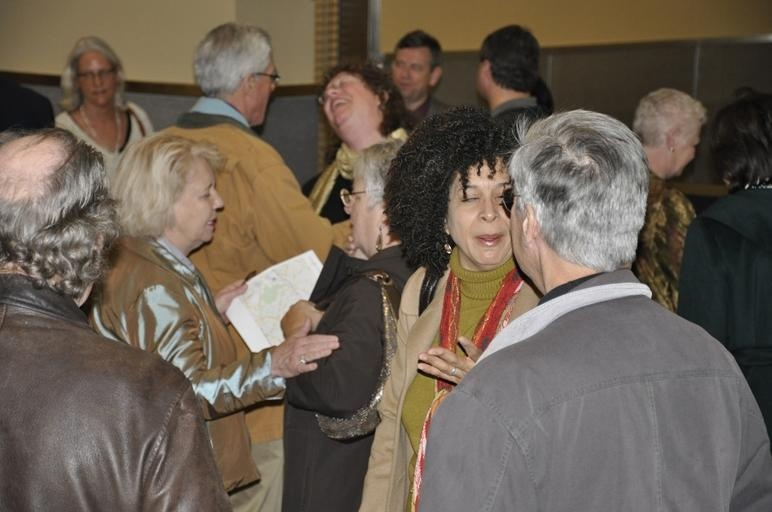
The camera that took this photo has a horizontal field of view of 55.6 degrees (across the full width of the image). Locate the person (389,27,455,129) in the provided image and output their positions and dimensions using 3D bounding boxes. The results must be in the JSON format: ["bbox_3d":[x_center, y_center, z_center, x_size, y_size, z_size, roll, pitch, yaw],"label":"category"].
[{"bbox_3d":[0.272,-1.453,6.059,0.461,0.845,0.471,13,25,11],"label":"person"}]

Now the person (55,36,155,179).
[{"bbox_3d":[-1.999,-1.068,5.106,0.756,0.940,0.433,-13,31,-28],"label":"person"}]

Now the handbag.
[{"bbox_3d":[-0.070,0.468,3.350,0.152,0.684,0.485,5,-10,-5],"label":"handbag"}]

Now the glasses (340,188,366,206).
[{"bbox_3d":[-0.159,-0.312,3.729,0.114,0.050,0.115,0,-4,-13],"label":"glasses"}]

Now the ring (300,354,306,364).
[{"bbox_3d":[-0.362,0.453,3.234,0.024,0.034,0.012,11,39,17],"label":"ring"}]

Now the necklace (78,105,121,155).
[{"bbox_3d":[-1.941,-0.885,5.075,0.197,0.298,0.074,-24,14,-23],"label":"necklace"}]
